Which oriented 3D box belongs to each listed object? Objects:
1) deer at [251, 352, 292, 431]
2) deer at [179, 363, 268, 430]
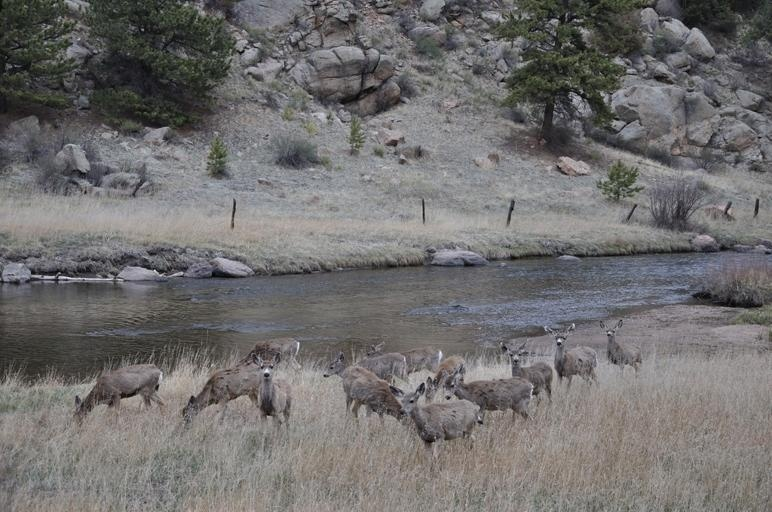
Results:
[{"bbox_3d":[-6.503,7.710,76.358,2.097,4.035,1.164,1,15,-7],"label":"deer"},{"bbox_3d":[-9.314,8.328,76.885,4.765,2.581,1.277,-32,5,-1],"label":"deer"}]
